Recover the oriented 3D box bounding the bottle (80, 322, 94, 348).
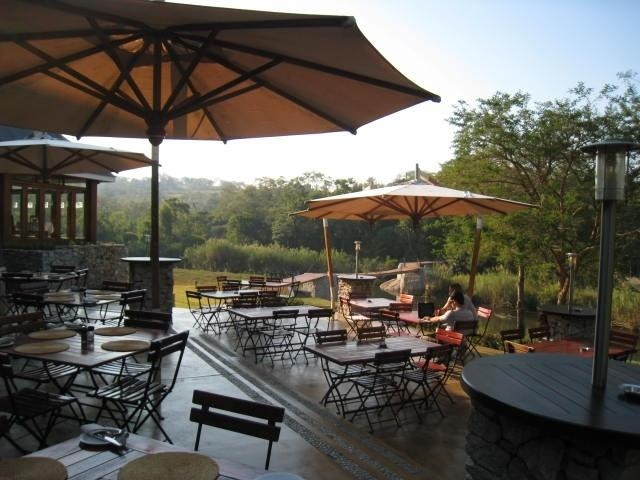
[{"bbox_3d":[-2.648,1.103,5.964,0.132,0.213,0.316,1,3,-26],"label":"bottle"}]

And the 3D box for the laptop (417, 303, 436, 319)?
[{"bbox_3d":[2.185,1.449,10.818,0.496,0.357,0.266,2,-4,-30],"label":"laptop"}]

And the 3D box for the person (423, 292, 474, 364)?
[{"bbox_3d":[2.322,1.468,9.371,0.914,1.285,0.950,1,2,-26],"label":"person"}]

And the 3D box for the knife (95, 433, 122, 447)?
[{"bbox_3d":[-1.667,1.611,4.198,0.128,0.031,0.080,22,1,20],"label":"knife"}]

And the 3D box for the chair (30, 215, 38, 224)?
[{"bbox_3d":[-10.110,-0.735,18.508,0.182,0.351,0.193,4,-14,-31],"label":"chair"}]
